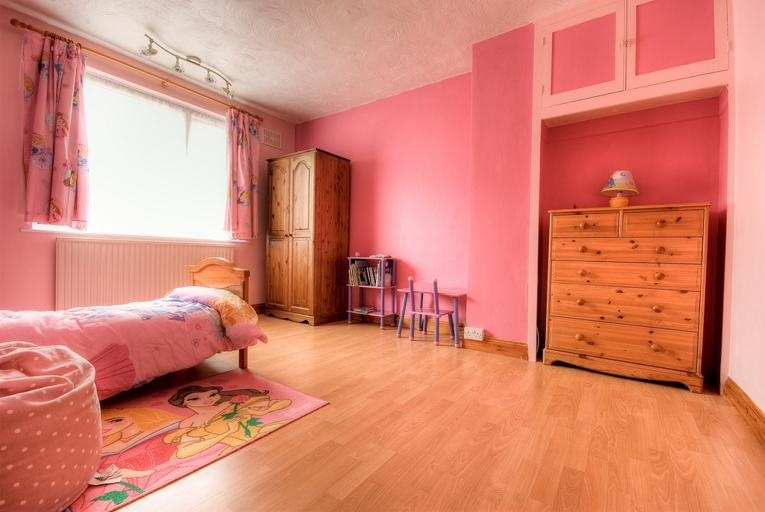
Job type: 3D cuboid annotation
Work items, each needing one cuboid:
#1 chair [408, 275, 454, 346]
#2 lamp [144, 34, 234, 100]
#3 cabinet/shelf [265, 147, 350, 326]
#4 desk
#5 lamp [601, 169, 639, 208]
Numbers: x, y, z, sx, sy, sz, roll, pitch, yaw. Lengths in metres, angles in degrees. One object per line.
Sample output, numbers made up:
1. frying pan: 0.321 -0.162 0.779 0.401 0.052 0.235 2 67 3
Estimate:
1. chair: 0.568 0.599 5.181 0.534 0.683 0.531 1 1 14
2. lamp: -2.150 -2.127 5.241 0.404 0.441 1.104 10 13 42
3. cabinet/shelf: -0.973 -0.255 5.935 1.142 2.166 0.970 -1 11 -5
4. desk: 0.555 0.603 5.180 0.754 0.683 0.488 3 3 32
5. lamp: 2.229 -0.600 4.315 0.403 0.320 0.412 2 -2 35
